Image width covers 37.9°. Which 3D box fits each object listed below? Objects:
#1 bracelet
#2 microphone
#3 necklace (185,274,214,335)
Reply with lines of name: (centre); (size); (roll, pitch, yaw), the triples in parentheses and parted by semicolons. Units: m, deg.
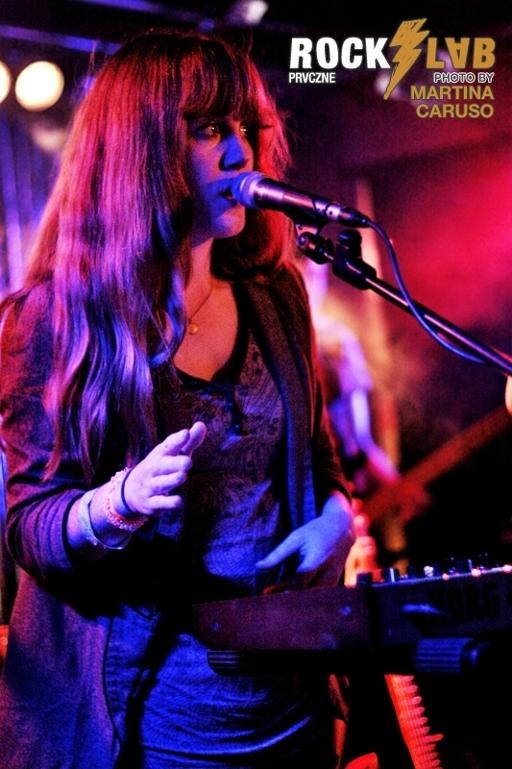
bracelet: (-0.218, 0.185, 1.181); (0.134, 0.105, 0.055); (-32, 35, 26)
microphone: (0.057, -0.291, 1.164); (0.068, 0.086, 0.286); (-9, 15, -39)
necklace: (-0.119, -0.177, 1.685); (0.039, 0.126, 0.030); (12, -27, 27)
